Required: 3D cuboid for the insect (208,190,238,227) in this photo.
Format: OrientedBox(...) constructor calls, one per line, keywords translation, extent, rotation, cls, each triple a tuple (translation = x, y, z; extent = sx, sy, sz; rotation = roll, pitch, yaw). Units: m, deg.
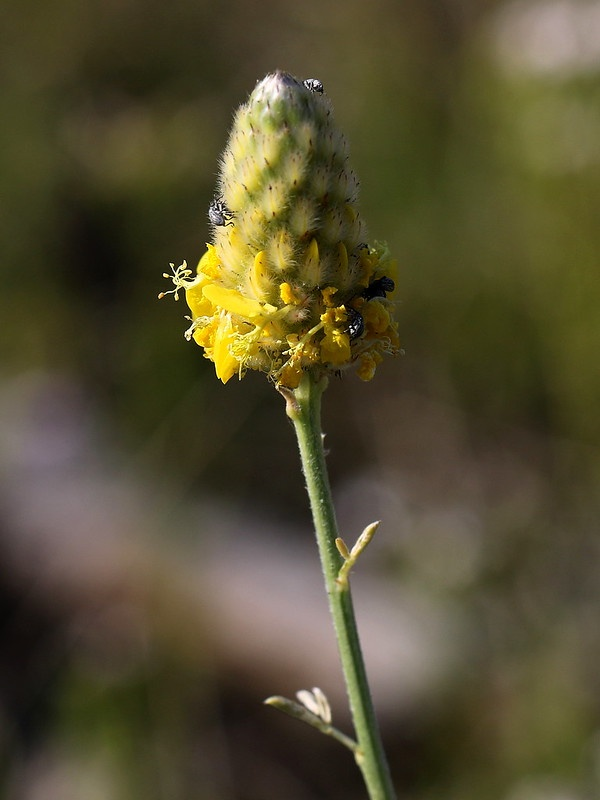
OrientedBox(translation=(-0.202, -0.503, 2.361), extent=(0.029, 0.087, 0.068), rotation=(14, -35, -41), cls="insect")
